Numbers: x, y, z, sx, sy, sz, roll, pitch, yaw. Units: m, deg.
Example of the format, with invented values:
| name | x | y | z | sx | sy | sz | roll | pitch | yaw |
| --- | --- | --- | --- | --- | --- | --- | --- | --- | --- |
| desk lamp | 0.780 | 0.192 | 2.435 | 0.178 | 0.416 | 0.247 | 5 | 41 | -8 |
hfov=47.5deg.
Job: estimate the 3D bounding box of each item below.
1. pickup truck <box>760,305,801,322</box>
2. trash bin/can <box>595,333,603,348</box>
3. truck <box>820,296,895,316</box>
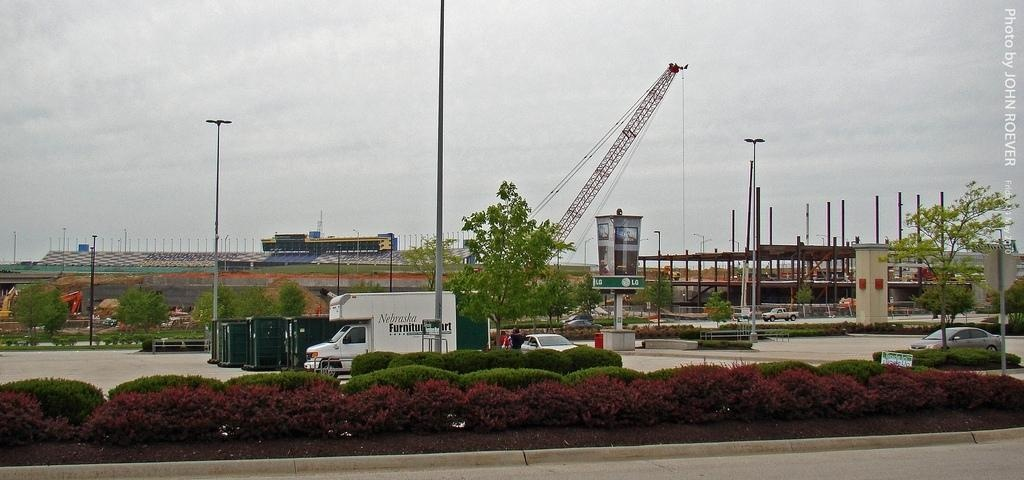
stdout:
| name | x | y | z | sx | sy | sz | roll | pitch | yaw |
| --- | --- | --- | --- | --- | --- | --- | --- | --- | --- |
| pickup truck | 37.193 | 10.333 | 162.816 | 4.824 | 2.088 | 3.124 | 1 | -7 | -21 |
| trash bin/can | 9.768 | 11.216 | 131.150 | 0.708 | 1.501 | 1.063 | 0 | -7 | -14 |
| truck | 48.013 | 9.248 | 161.810 | 4.429 | 1.934 | 5.962 | -1 | 1 | -31 |
